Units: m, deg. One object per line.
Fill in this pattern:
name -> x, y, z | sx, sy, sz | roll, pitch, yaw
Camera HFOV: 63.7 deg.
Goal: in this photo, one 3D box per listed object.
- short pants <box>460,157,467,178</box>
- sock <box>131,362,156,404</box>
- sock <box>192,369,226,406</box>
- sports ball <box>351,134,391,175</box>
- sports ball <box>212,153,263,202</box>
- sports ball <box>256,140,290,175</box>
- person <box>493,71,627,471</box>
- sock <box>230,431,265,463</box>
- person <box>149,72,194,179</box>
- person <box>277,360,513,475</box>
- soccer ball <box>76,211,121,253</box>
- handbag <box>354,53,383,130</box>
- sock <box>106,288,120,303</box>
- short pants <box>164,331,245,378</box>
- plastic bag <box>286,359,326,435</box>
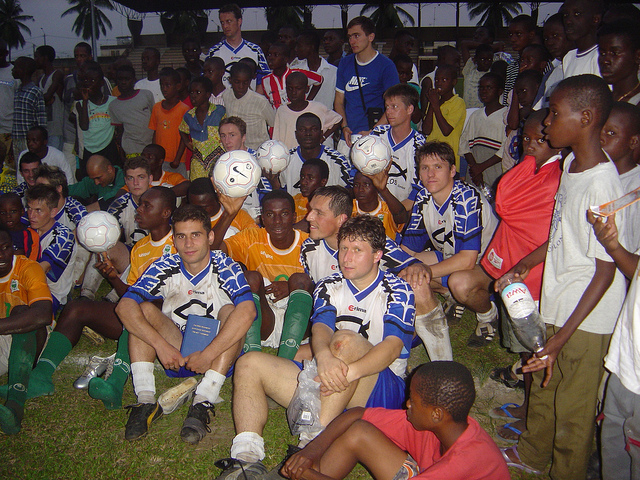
short pants -> 2.424, -1.226, 8.713 | 0.063, 0.269, 0.279 | 0, -12, 12
sock -> -1.493, 1.216, 4.383 | 0.174, 0.308, 0.247 | -5, 15, -22
sock -> -0.916, 1.221, 4.393 | 0.127, 0.359, 0.152 | 36, -26, -20
sports ball -> 0.584, -0.988, 6.066 | 0.406, 0.529, 0.463 | -14, 14, -2
sports ball -> -0.821, -0.693, 5.601 | 0.482, 0.503, 0.559 | 35, 8, -10
sports ball -> -0.638, -1.036, 6.916 | 0.429, 0.480, 0.520 | 9, -8, -15
person -> 1.758, 0.331, 3.740 | 0.696, 2.947, 0.770 | -11, 18, -40
sock -> -0.529, 1.521, 3.761 | 0.232, 0.188, 0.158 | 0, 14, -4
person -> -2.440, -1.467, 8.363 | 0.668, 2.377, 0.590 | 7, 19, 5
person -> 0.568, 1.379, 3.720 | 1.237, 0.989, 0.932 | 7, -12, -8
soccer ball -> -2.353, -0.082, 5.506 | 0.420, 0.426, 0.205 | -6, 15, -26
handbag -> 0.713, -2.186, 7.640 | 0.492, 1.050, 0.115 | 9, 16, 29
sock -> -2.482, 0.673, 6.218 | 0.158, 0.053, 0.163 | 32, 38, 12
short pants -> -1.085, 1.182, 4.982 | 0.418, 0.310, 0.755 | 4, -20, 42
plastic bag -> -0.110, 1.231, 3.924 | 0.248, 0.531, 0.287 | -4, 14, -17
